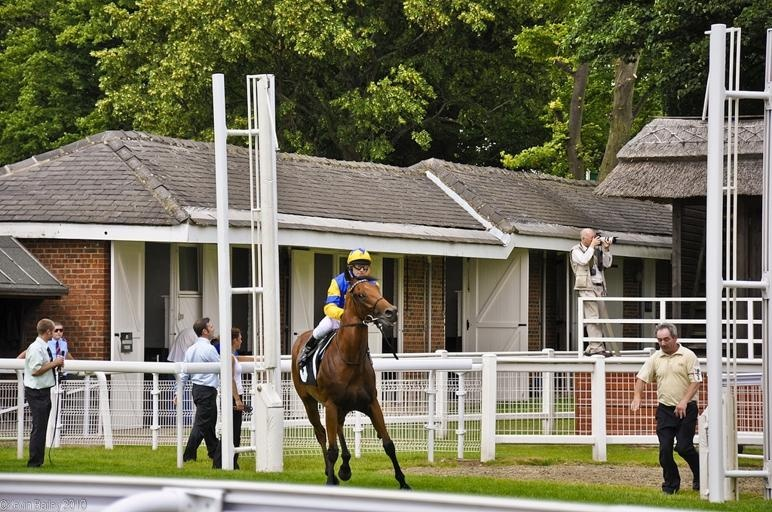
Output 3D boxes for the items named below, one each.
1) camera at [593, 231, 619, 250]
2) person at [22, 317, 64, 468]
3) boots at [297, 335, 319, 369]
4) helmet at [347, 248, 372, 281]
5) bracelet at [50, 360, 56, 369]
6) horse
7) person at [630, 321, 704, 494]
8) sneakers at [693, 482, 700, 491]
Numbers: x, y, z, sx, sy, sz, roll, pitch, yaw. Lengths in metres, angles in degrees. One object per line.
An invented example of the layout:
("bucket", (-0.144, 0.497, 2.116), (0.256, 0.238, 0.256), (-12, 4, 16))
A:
("camera", (5.163, -0.321, 41.980), (0.450, 0.195, 0.575), (10, -7, -41))
("person", (-6.535, 2.656, 33.990), (0.663, 2.830, 0.586), (1, -7, -14))
("boots", (-1.415, 1.817, 32.644), (0.174, 0.529, 0.370), (29, -15, 2))
("helmet", (-0.444, 0.200, 32.258), (0.405, 0.475, 0.490), (3, -12, -12))
("bracelet", (-6.328, 2.100, 33.890), (0.147, 0.149, 0.054), (1, -6, -19))
("horse", (-0.674, 2.308, 32.162), (1.212, 3.654, 2.879), (2, -8, -26))
("person", (5.251, 2.855, 32.961), (1.137, 3.153, 0.692), (-2, -7, 9))
("sneakers", (5.748, 4.322, 33.040), (0.112, 0.130, 0.307), (0, -14, 3))
